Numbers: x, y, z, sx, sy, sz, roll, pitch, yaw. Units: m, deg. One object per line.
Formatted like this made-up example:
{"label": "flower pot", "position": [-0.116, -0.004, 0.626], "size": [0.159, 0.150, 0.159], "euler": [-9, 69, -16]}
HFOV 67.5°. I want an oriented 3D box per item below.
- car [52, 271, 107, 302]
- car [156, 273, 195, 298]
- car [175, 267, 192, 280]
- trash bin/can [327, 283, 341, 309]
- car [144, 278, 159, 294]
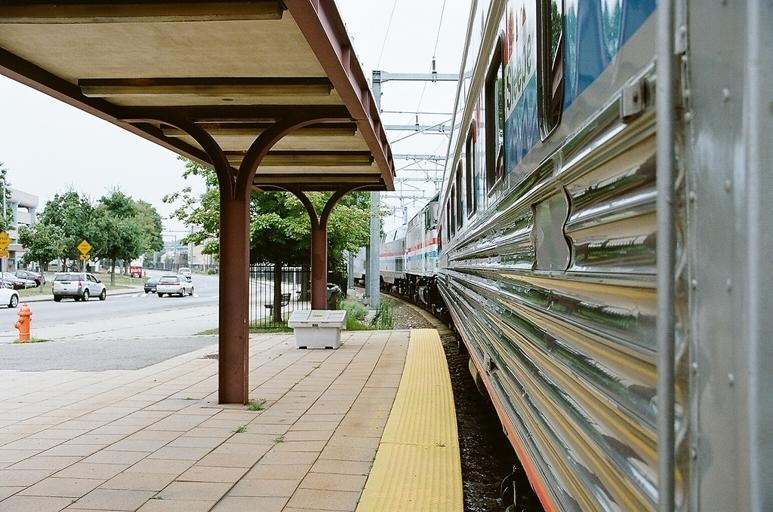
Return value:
{"label": "car", "position": [-16.434, 1.648, 30.829], "size": [1.484, 1.123, 2.896], "euler": [0, 1, 0]}
{"label": "car", "position": [-13.213, 1.881, 35.825], "size": [1.186, 0.907, 2.549], "euler": [0, 2, -5]}
{"label": "car", "position": [-23.247, 1.939, 65.143], "size": [1.055, 0.857, 2.598], "euler": [1, 4, -11]}
{"label": "trash bin/can", "position": [-1.454, 1.173, 16.324], "size": [0.605, 0.755, 0.636], "euler": [-1, 0, -16]}
{"label": "car", "position": [-16.585, 2.062, 39.740], "size": [1.089, 0.875, 1.881], "euler": [-1, 7, -15]}
